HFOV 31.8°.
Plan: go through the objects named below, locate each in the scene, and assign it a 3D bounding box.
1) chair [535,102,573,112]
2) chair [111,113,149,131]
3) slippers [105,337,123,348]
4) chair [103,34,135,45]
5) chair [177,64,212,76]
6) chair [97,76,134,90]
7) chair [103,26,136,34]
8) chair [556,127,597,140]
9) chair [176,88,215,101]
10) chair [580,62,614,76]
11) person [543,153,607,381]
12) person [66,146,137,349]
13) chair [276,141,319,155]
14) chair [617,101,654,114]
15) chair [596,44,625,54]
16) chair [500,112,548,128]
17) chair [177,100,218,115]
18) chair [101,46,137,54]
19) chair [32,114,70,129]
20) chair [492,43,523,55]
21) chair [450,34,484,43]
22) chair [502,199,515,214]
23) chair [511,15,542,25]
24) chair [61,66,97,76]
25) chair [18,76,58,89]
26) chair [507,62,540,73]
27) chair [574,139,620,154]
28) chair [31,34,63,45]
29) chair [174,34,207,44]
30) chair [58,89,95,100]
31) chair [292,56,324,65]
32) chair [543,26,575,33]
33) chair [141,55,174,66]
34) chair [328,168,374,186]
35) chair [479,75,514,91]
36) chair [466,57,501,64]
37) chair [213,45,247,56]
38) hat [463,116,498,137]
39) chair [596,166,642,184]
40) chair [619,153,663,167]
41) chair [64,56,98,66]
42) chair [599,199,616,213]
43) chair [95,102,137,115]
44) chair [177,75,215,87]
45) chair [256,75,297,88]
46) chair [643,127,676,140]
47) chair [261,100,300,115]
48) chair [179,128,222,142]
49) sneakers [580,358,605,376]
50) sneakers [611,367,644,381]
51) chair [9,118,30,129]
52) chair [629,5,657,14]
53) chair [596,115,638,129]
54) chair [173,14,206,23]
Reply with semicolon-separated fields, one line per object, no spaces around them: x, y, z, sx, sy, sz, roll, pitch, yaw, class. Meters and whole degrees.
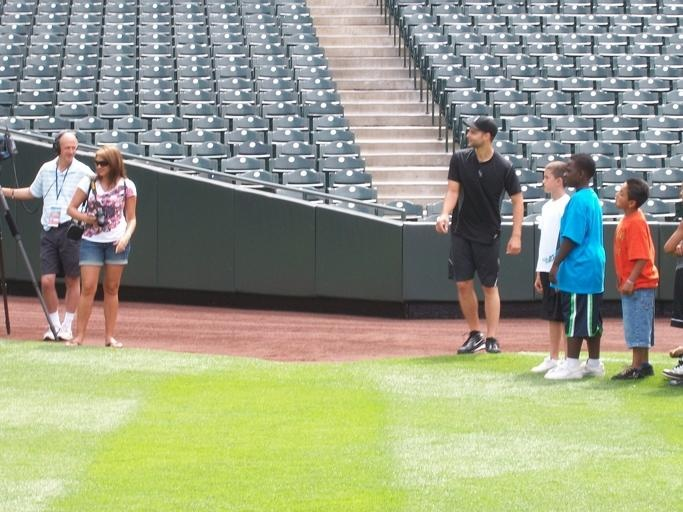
3.023;-2.066;16.799;0.491;0.158;0.119;-3;2;-16;chair
-2.862;-1.803;16.212;0.361;0.209;0.256;0;-1;-9;chair
-2.155;0.823;11.311;0.160;0.066;0.085;-4;-2;39;slippers
-3.547;-3.459;19.150;0.517;0.225;0.398;-3;2;-12;chair
-2.189;-2.757;17.874;0.506;0.197;0.331;-3;2;-10;chair
-3.275;-2.511;17.475;0.519;0.214;0.483;-3;2;-11;chair
-3.635;-3.721;19.652;0.499;0.152;0.245;-2;2;-8;chair
3.183;-1.639;16.258;0.549;0.208;0.202;-2;2;-8;chair
-2.043;-2.268;17.016;0.515;0.195;0.236;-2;2;-8;chair
3.807;-2.791;17.999;0.324;0.103;0.216;2;1;-10;chair
2.016;0.089;10.363;0.519;1.937;0.311;-2;2;7;person
-2.229;-0.083;11.157;0.657;1.882;0.383;-3;2;-14;person
-0.539;-1.369;15.372;0.331;0.113;0.232;-2;5;-38;chair
4.239;-2.065;16.912;0.577;0.179;0.290;-3;2;-27;chair
4.247;-3.246;18.824;0.477;0.178;0.186;-2;2;4;chair
2.486;-1.819;16.302;0.403;0.129;0.269;-1;2;-25;chair
-1.974;-2.004;16.482;0.534;0.205;0.393;-2;2;-2;chair
-3.483;-3.226;18.782;0.514;0.181;0.279;-3;2;-12;chair
-3.901;-1.772;16.061;0.333;0.190;0.224;0;-1;-12;chair
2.575;-3.207;18.589;0.471;0.211;0.326;-2;2;4;chair
2.025;-3.452;19.025;0.526;0.197;0.377;-2;2;-4;chair
1.958;-0.591;14.273;0.186;0.160;0.174;0;0;-14;chair
3.037;-3.889;19.732;0.518;0.227;0.377;-2;2;7;chair
-3.875;-2.721;17.725;0.452;0.180;0.179;-2;2;-4;chair
-4.387;-2.490;17.365;0.523;0.180;0.274;-3;2;-18;chair
2.735;-2.765;17.849;0.527;0.170;0.232;-3;2;-9;chair
3.395;-1.421;15.783;0.557;0.212;0.486;1;6;-3;chair
-4.644;-3.424;18.952;0.520;0.220;0.475;-3;2;-20;chair
-2.406;-3.458;19.127;0.537;0.167;0.286;-2;2;-6;chair
-3.781;-2.258;16.996;0.524;0.214;0.489;-3;2;-10;chair
-0.497;-2.989;18.357;0.514;0.165;0.165;-2;2;-7;chair
3.605;-3.710;19.652;0.531;0.146;0.172;-3;2;-21;chair
-2.795;-2.969;18.238;0.500;0.183;0.320;-3;2;-31;chair
0.126;-0.965;14.725;0.311;0.175;0.254;1;9;2;chair
2.293;-2.513;17.508;0.511;0.221;0.244;-2;2;2;chair
2.190;-2.979;18.229;0.588;0.161;0.172;-3;2;-28;chair
-1.716;-3.186;18.540;0.529;0.226;0.297;-2;2;-6;chair
1.291;-1.209;11.077;0.284;0.125;0.172;15;12;-3;hat
3.333;-0.975;14.448;0.562;0.306;0.271;1;10;2;chair
3.922;-1.215;15.538;0.455;0.192;0.146;-2;2;5;chair
-3.956;-2.973;18.213;0.512;0.193;0.378;-3;2;-13;chair
3.183;-0.590;14.238;0.190;0.159;0.191;0;0;-9;chair
-3.124;-2.022;16.640;0.511;0.216;0.458;-3;2;-11;chair
-2.123;-2.519;17.474;0.518;0.192;0.310;-2;2;-8;chair
-0.947;-2.526;17.581;0.568;0.172;0.317;-2;2;-6;chair
4.323;-1.650;16.248;0.306;0.108;0.207;1;2;6;chair
-0.836;-2.025;16.546;0.521;0.223;0.391;-2;2;-4;chair
-1.840;-1.561;15.679;0.498;0.188;0.282;-3;2;-14;chair
2.201;0.964;10.474;0.121;0.120;0.192;1;9;2;sneakers
2.476;1.005;10.320;0.299;0.098;0.102;0;-7;0;sneakers
-4.291;-1.748;15.908;0.183;0.216;0.196;2;-3;-34;chair
5.157;-4.151;20.236;0.513;0.188;0.207;-3;2;-12;chair
3.844;-1.834;16.502;0.385;0.124;0.256;0;2;-26;chair
-2.536;-3.967;20.037;0.541;0.219;0.409;-3;2;-9;chair
